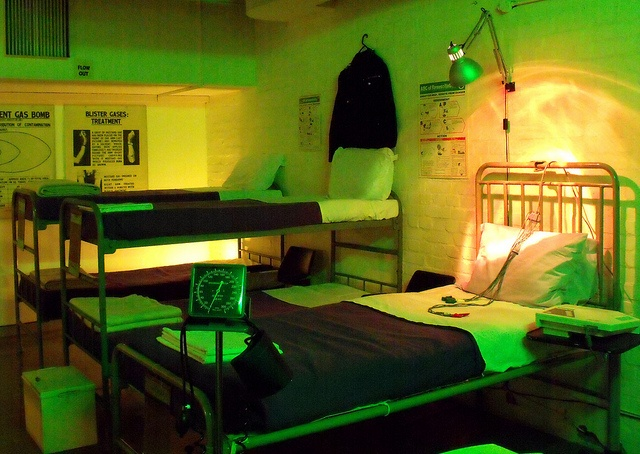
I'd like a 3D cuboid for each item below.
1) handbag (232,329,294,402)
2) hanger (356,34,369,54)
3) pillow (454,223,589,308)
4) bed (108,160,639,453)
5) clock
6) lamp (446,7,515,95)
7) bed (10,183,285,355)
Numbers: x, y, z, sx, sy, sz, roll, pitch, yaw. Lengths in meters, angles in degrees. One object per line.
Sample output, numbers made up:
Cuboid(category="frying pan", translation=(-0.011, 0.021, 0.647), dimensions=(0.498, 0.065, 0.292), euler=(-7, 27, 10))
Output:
Cuboid(category="handbag", translation=(-0.229, 0.530, 2.047), dimensions=(0.182, 0.267, 0.156), euler=(-4, 8, 11))
Cuboid(category="hanger", translation=(0.373, -1.585, 4.492), dimensions=(0.079, 0.169, 0.132), euler=(-12, 10, -34))
Cuboid(category="pillow", translation=(1.309, 0.263, 3.323), dimensions=(0.446, 0.502, 0.869), euler=(8, -5, -41))
Cuboid(category="bed", translation=(0.413, 0.496, 3.162), dimensions=(2.808, 1.726, 1.645), euler=(-3, 3, -32))
Cuboid(category="clock", translation=(-0.386, 0.240, 1.978), dimensions=(0.225, 0.212, 0.114), euler=(-6, 8, -4))
Cuboid(category="lamp", translation=(1.067, -1.184, 3.490), dimensions=(0.291, 0.581, 0.531), euler=(0, 10, 39))
Cuboid(category="bed", translation=(-1.864, 0.239, 5.013), dimensions=(2.437, 1.722, 1.419), euler=(-4, 5, -40))
